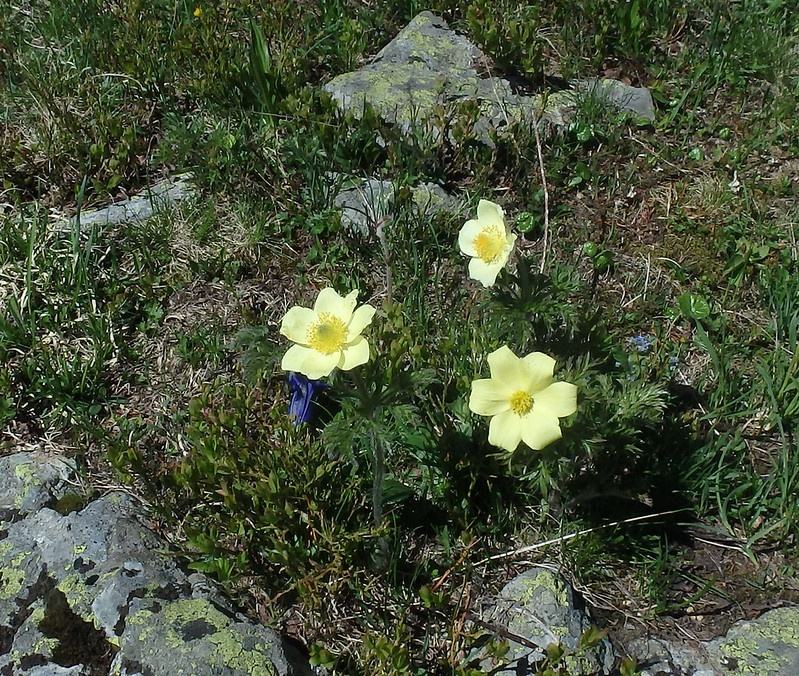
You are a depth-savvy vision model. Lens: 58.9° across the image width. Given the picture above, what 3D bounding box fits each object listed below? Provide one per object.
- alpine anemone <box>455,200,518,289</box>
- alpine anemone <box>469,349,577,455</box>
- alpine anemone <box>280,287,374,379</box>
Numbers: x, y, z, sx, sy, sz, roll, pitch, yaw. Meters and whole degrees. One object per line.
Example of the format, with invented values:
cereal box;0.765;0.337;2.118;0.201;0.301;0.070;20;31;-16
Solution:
alpine anemone;0.353;-0.416;2.871;0.298;0.123;0.297;30;44;-35
alpine anemone;0.446;0.239;2.624;0.372;0.152;0.444;-10;50;-10
alpine anemone;-0.240;-0.023;2.634;0.309;0.133;0.350;38;92;24
